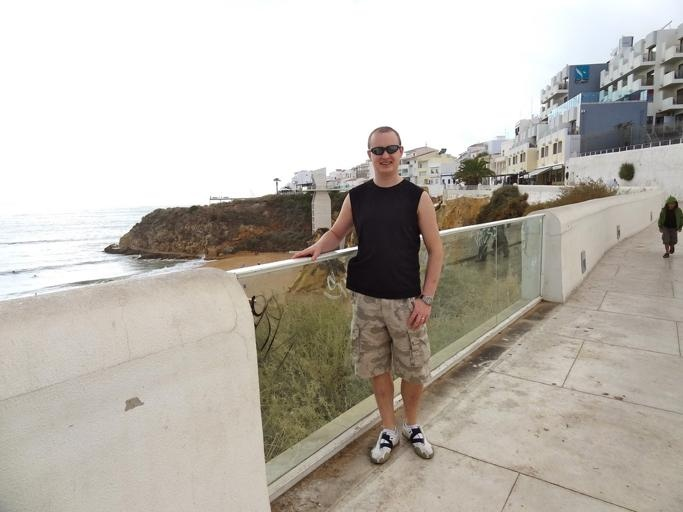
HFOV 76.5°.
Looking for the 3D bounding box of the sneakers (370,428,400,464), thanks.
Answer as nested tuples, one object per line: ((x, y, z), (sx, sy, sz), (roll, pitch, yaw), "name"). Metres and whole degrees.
((0.282, 1.285, 2.936), (0.097, 0.115, 0.272), (-4, -11, 21), "sneakers")

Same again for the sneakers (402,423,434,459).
((0.532, 1.273, 3.013), (0.096, 0.115, 0.270), (-4, 0, -24), "sneakers")

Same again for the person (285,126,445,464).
((0.260, 0.417, 2.900), (0.762, 1.864, 0.403), (2, 11, 13), "person")
